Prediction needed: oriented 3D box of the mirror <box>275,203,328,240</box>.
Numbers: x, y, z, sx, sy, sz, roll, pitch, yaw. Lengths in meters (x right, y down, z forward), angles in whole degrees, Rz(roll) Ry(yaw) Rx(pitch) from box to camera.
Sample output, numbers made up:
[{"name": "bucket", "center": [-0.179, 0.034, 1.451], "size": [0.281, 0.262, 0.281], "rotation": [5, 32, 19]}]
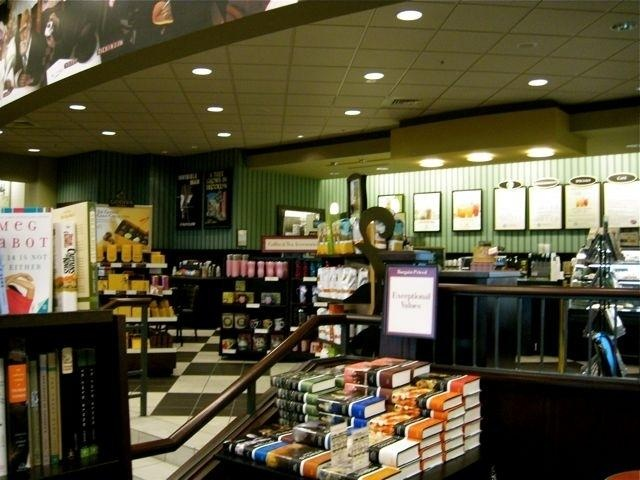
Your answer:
[{"name": "mirror", "center": [-0.402, -0.453, 11.324], "size": [0.387, 0.628, 1.298], "rotation": [-1, -1, 32]}]
